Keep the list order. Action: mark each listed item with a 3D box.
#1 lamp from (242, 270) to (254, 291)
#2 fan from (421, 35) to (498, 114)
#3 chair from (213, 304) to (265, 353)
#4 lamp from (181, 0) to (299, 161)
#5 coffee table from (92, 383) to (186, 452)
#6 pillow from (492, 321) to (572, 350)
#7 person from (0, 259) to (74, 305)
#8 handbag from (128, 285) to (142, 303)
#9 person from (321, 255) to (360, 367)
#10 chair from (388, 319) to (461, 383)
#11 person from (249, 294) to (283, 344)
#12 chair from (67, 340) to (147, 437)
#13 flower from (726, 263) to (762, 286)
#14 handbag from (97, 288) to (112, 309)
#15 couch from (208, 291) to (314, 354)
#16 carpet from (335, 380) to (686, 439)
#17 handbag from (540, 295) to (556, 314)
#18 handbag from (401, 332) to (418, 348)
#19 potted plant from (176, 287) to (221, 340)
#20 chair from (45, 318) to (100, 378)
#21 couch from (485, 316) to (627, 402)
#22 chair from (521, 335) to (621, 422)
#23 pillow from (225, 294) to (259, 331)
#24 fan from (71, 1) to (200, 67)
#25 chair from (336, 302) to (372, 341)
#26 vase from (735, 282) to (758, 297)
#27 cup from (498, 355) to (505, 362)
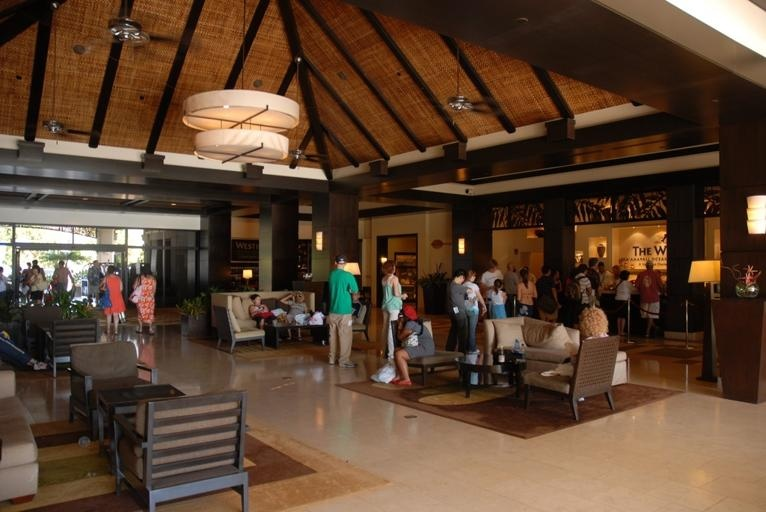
[{"bbox_3d":[-6.138,0.971,25.071,0.505,0.714,0.506,0,-1,-24],"label":"lamp"},{"bbox_3d":[1.423,-3.200,9.936,1.419,1.097,1.167,-19,32,-20],"label":"fan"},{"bbox_3d":[-3.448,1.646,12.632,1.175,1.038,1.124,0,0,-32],"label":"chair"},{"bbox_3d":[-2.310,-2.394,9.115,1.594,1.890,1.489,1,-11,-5],"label":"lamp"},{"bbox_3d":[-2.678,1.914,6.434,0.768,0.602,0.735,-6,-13,33],"label":"coffee table"},{"bbox_3d":[2.648,1.384,9.785,0.676,0.367,0.922,-2,0,-35],"label":"pillow"},{"bbox_3d":[-11.080,0.837,17.442,1.630,1.671,0.576,1,-10,-32],"label":"person"},{"bbox_3d":[-6.632,1.040,14.789,0.247,0.433,0.360,0,-1,-29],"label":"handbag"},{"bbox_3d":[-0.790,1.102,11.241,0.759,2.149,0.696,-5,-10,43],"label":"person"},{"bbox_3d":[0.701,1.555,9.569,0.862,1.147,1.025,-4,2,-31],"label":"chair"},{"bbox_3d":[-2.820,1.393,13.096,0.490,0.795,1.444,-3,5,-29],"label":"person"},{"bbox_3d":[-3.703,1.753,7.572,0.979,0.946,1.206,-2,2,-42],"label":"chair"},{"bbox_3d":[5.876,0.284,9.021,0.383,0.185,0.261,9,3,21],"label":"flower"},{"bbox_3d":[-7.455,1.131,14.811,0.211,0.550,0.960,0,-2,-31],"label":"handbag"},{"bbox_3d":[-3.197,1.485,12.962,2.044,1.034,1.500,2,-5,-34],"label":"couch"},{"bbox_3d":[1.123,2.270,8.788,3.154,0.019,2.666,8,-5,24],"label":"carpet"},{"bbox_3d":[4.245,1.270,14.276,0.432,0.417,0.416,-31,-9,12],"label":"handbag"},{"bbox_3d":[0.467,1.431,9.407,0.268,0.237,0.121,-1,-1,-5],"label":"handbag"},{"bbox_3d":[-5.008,1.485,14.646,1.442,1.464,1.168,0,-2,-31],"label":"potted plant"},{"bbox_3d":[-5.576,1.726,10.049,1.021,1.047,0.956,0,-2,40],"label":"chair"},{"bbox_3d":[2.847,1.713,9.514,1.310,1.050,2.091,0,-1,-34],"label":"couch"},{"bbox_3d":[2.920,1.649,8.237,1.286,1.153,1.273,1,0,-42],"label":"chair"},{"bbox_3d":[-3.416,1.206,13.114,0.238,0.736,0.806,-33,-32,33],"label":"pillow"},{"bbox_3d":[-3.853,-3.481,8.548,1.770,0.653,1.650,-2,3,4],"label":"fan"},{"bbox_3d":[-0.706,1.592,13.455,0.850,0.844,0.757,-2,4,-5],"label":"chair"},{"bbox_3d":[5.833,0.531,8.877,0.273,0.220,0.254,5,-1,-7],"label":"vase"},{"bbox_3d":[1.864,1.618,8.661,0.087,0.083,0.084,2,3,0],"label":"cup"}]
